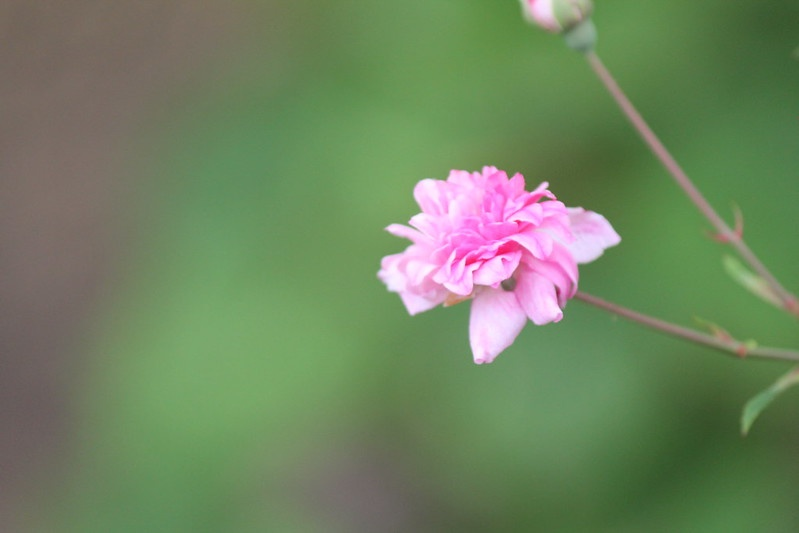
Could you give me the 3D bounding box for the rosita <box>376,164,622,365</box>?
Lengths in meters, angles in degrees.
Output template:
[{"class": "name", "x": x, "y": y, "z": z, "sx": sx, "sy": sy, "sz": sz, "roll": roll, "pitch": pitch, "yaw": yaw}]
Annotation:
[{"class": "rosita", "x": 0.089, "y": -0.019, "z": 1.006, "sx": 0.253, "sy": 0.142, "sz": 0.318, "roll": 13, "pitch": -13, "yaw": 4}]
